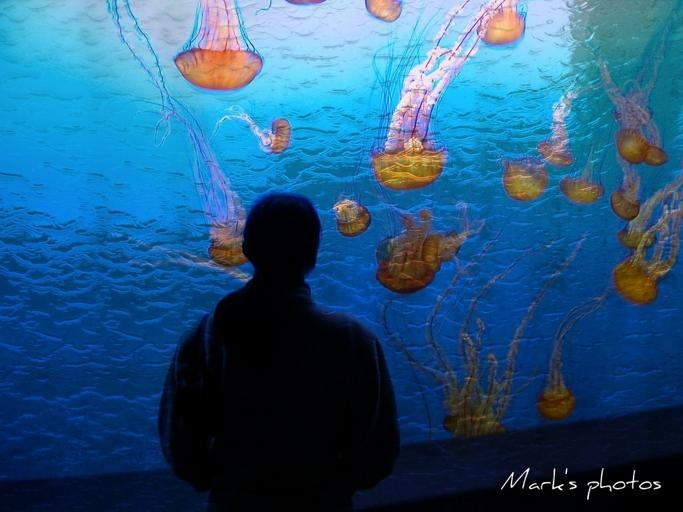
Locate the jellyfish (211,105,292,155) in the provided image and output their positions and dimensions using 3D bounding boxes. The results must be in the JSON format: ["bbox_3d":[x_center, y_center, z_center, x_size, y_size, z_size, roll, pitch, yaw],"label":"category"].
[{"bbox_3d":[-0.309,-0.451,2.742,0.310,0.110,0.159,16,13,0],"label":"jellyfish"}]
